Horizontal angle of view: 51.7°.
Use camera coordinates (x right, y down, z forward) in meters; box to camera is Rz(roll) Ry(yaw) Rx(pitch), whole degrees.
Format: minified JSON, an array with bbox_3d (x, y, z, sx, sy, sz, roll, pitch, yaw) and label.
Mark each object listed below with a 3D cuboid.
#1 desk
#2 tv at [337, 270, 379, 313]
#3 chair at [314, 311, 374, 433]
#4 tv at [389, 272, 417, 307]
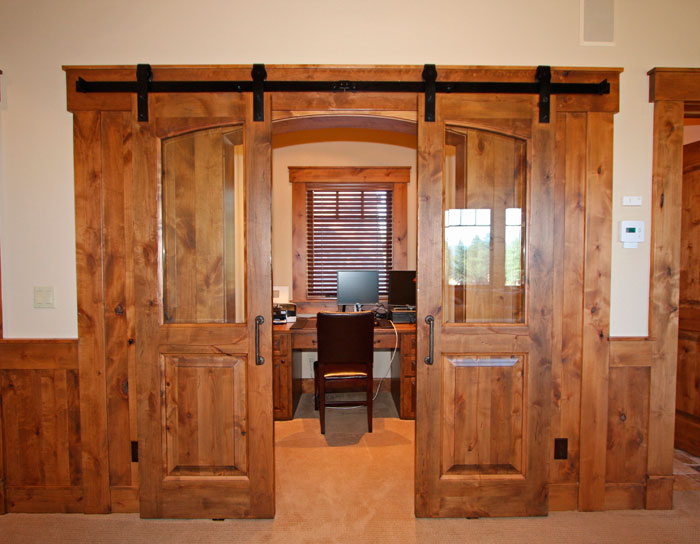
[{"bbox_3d":[-0.052,0.750,6.223,1.369,0.930,0.784,0,-3,-3],"label":"desk"},{"bbox_3d":[0.082,0.173,6.586,0.379,0.400,0.130,0,0,-2],"label":"tv"},{"bbox_3d":[-0.034,0.820,5.848,0.453,0.991,0.264,0,-1,-2],"label":"chair"},{"bbox_3d":[0.498,0.158,6.545,0.316,0.328,0.203,0,-1,30],"label":"tv"}]
